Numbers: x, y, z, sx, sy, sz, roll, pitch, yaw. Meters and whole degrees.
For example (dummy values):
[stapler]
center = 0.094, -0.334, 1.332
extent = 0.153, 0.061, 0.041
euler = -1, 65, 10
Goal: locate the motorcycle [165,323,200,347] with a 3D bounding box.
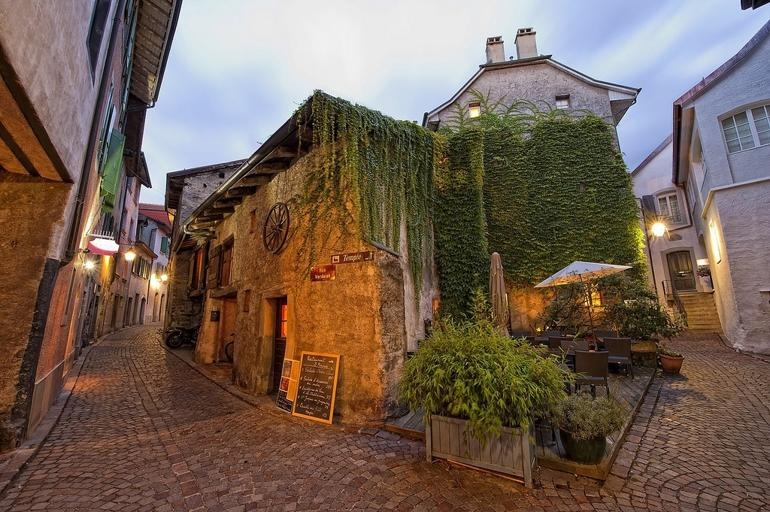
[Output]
[motorcycle]
center = -8.108, 3.210, 16.508
extent = 1.068, 0.829, 0.855
euler = -9, 13, -36

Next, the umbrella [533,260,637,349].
[umbrella]
center = 5.499, 1.110, 11.334
extent = 2.297, 2.188, 2.443
euler = -12, -11, 30

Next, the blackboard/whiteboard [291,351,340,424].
[blackboard/whiteboard]
center = -1.398, 2.635, 8.415
extent = 1.336, 1.502, 0.105
euler = -4, -25, 24

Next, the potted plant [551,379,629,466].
[potted plant]
center = 3.219, 2.751, 6.784
extent = 0.861, 0.934, 0.973
euler = 9, -15, -24

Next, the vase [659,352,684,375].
[vase]
center = 7.026, 2.589, 10.298
extent = 0.500, 0.364, 0.490
euler = 2, -10, 3
